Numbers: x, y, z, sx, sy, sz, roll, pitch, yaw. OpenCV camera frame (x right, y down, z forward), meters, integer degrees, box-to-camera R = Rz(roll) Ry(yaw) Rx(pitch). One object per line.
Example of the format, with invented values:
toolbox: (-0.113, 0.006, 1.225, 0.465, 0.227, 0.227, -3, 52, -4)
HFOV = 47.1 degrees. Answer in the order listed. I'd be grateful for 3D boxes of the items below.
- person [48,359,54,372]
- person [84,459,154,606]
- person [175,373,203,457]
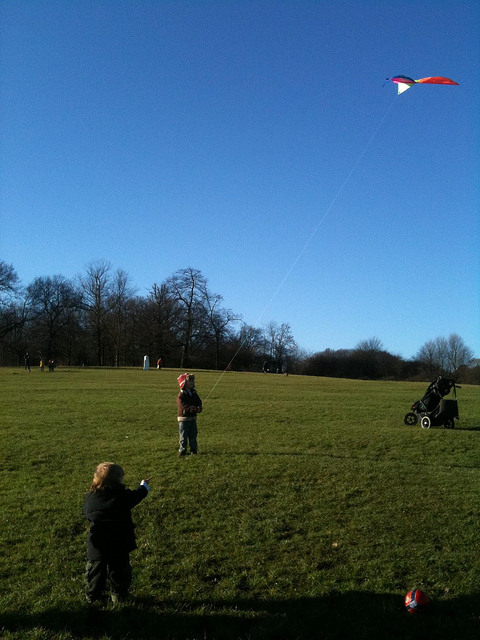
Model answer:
person: (-16.592, 4.022, 48.368, 0.321, 0.852, 1.306, 4, -3, -28)
person: (-1.137, 1.900, 4.978, 0.543, 1.222, 0.319, 3, -3, -19)
person: (-1.005, 1.813, 10.812, 0.398, 1.854, 0.485, 0, 0, -16)
